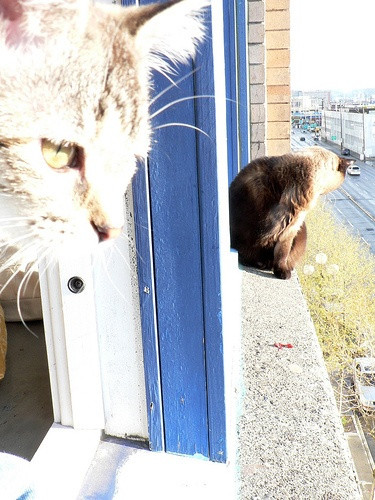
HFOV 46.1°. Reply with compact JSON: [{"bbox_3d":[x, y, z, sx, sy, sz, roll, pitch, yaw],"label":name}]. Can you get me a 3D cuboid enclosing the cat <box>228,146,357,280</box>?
[{"bbox_3d":[0.480,-0.243,2.527,0.654,0.716,0.407,15,14,-2],"label":"cat"}]
